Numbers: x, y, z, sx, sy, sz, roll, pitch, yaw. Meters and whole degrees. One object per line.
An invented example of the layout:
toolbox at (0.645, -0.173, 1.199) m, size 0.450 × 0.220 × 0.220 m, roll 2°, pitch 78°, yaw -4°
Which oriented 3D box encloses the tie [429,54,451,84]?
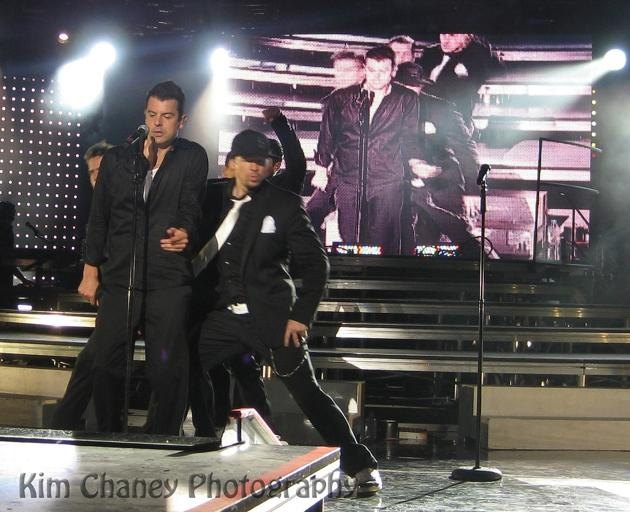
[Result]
tie at (2.180, -3.287, 16.560) m, size 0.155 × 0.513 × 0.118 m, roll 31°, pitch 13°, yaw -36°

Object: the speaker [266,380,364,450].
speaker at (-0.037, 1.346, 9.077) m, size 1.074 × 0.950 × 0.532 m, roll 0°, pitch -9°, yaw 2°

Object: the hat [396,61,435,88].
hat at (1.732, -3.189, 16.593) m, size 0.618 × 0.220 × 0.388 m, roll 3°, pitch 7°, yaw 1°

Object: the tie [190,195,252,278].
tie at (-0.749, -0.171, 7.749) m, size 0.279 × 0.874 × 0.068 m, roll 35°, pitch 1°, yaw 4°

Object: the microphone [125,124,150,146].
microphone at (-1.413, -0.971, 7.582) m, size 0.166 × 0.167 × 0.176 m, roll 0°, pitch -5°, yaw 8°
